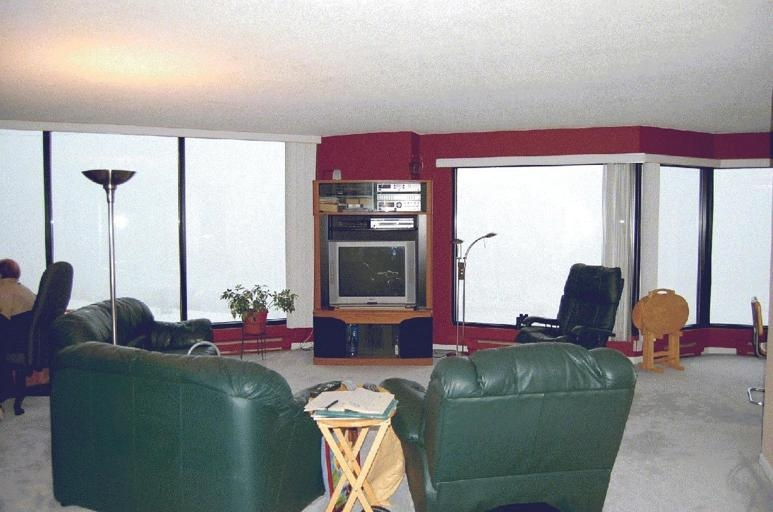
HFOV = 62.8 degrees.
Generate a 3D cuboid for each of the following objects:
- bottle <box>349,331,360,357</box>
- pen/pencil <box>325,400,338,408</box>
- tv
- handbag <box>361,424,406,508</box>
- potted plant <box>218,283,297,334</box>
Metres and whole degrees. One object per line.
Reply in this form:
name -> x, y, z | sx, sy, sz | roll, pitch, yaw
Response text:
bottle -> -0.419, 1.086, 8.097 | 0.158, 0.379, 0.091 | -1, 2, -7
pen/pencil -> -0.400, 1.103, 4.692 | 0.027, 0.027, 0.117 | 20, 23, 24
tv -> -0.164, 0.236, 8.128 | 1.375, 0.920, 0.790 | 0, -5, 5
handbag -> -0.017, 1.702, 5.118 | 0.209, 0.595, 0.469 | 16, -16, -24
potted plant -> -1.735, 0.703, 8.342 | 0.780, 0.516, 0.731 | -2, -3, 27
